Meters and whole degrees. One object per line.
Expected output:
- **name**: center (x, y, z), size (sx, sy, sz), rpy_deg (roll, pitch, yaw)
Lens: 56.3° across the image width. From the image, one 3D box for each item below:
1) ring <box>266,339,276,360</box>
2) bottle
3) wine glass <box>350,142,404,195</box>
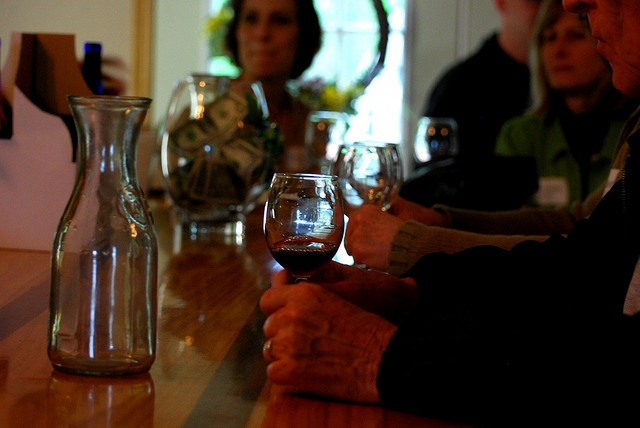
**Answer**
- **ring**: center (-0.070, 0.187, 0.815), size (0.018, 0.022, 0.023), rpy_deg (2, 4, -3)
- **bottle**: center (-0.293, 0.029, 0.800), size (0.139, 0.371, 0.096), rpy_deg (0, 12, -19)
- **wine glass**: center (0.119, -0.101, 1.450), size (0.128, 0.121, 0.128), rpy_deg (0, -2, 26)
